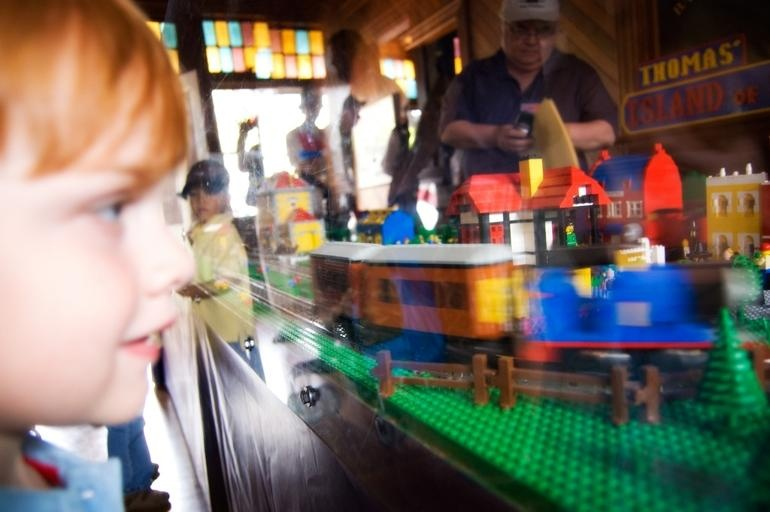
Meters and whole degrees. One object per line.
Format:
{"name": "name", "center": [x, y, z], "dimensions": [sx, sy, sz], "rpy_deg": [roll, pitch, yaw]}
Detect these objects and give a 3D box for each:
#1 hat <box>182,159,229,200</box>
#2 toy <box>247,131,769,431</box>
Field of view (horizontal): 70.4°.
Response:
{"name": "hat", "center": [-0.395, -0.168, 1.219], "dimensions": [0.064, 0.049, 0.095], "rpy_deg": [-2, -4, 20]}
{"name": "toy", "center": [0.115, 0.037, 0.962], "dimensions": [0.235, 0.289, 0.882], "rpy_deg": [-5, 5, -43]}
